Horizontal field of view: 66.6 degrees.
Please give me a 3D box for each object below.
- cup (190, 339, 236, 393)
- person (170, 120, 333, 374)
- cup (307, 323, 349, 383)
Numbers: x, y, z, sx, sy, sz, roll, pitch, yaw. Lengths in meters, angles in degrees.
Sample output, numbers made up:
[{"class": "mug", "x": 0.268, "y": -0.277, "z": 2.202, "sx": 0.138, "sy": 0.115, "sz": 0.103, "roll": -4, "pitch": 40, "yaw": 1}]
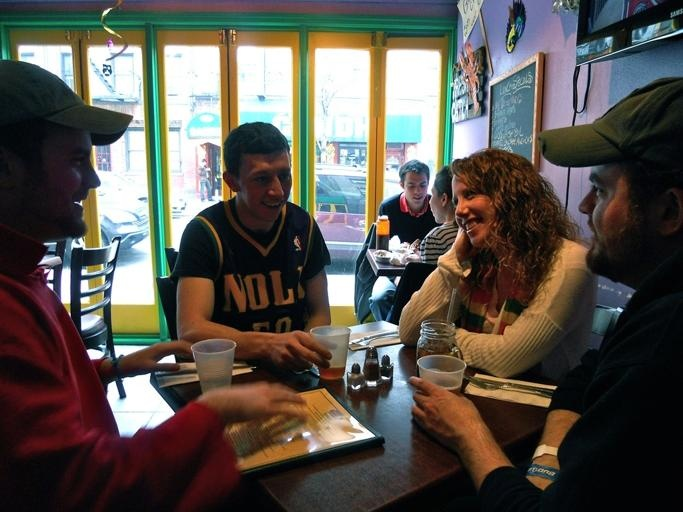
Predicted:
[{"class": "cup", "x": -0.351, "y": 0.302, "z": 1.514, "sx": 0.139, "sy": 0.152, "sz": 0.138, "roll": 0, "pitch": 9, "yaw": 0}, {"class": "person", "x": -0.307, "y": -0.036, "z": 2.076, "sx": 0.671, "sy": 0.911, "sz": 0.614, "roll": -6, "pitch": 9, "yaw": -36}, {"class": "cup", "x": -0.018, "y": 0.284, "z": 1.561, "sx": 0.146, "sy": 0.159, "sz": 0.149, "roll": -1, "pitch": -1, "yaw": 0}]
